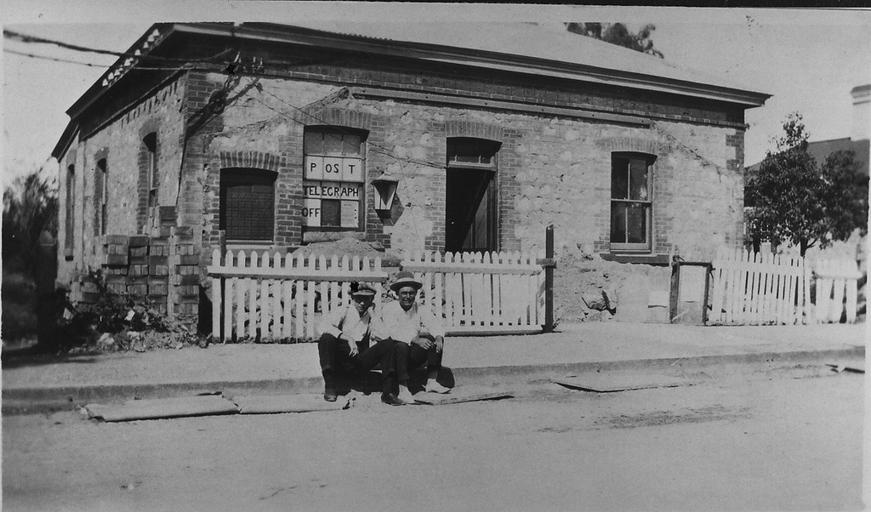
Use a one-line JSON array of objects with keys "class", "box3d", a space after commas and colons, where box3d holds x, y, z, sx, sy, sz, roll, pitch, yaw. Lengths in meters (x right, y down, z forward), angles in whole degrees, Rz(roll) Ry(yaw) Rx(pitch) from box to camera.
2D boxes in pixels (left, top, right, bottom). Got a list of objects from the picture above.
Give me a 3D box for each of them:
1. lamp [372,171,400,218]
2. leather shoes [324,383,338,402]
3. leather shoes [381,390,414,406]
[{"class": "lamp", "box3d": [-0.856, -1.124, 17.795, 0.589, 0.684, 0.581, 11, -15, -24]}, {"class": "leather shoes", "box3d": [-1.634, 2.135, 16.083, 0.254, 0.276, 0.179, 3, -3, -24]}, {"class": "leather shoes", "box3d": [-0.617, 2.243, 16.059, 0.517, 0.234, 0.198, 0, -3, 6]}]
